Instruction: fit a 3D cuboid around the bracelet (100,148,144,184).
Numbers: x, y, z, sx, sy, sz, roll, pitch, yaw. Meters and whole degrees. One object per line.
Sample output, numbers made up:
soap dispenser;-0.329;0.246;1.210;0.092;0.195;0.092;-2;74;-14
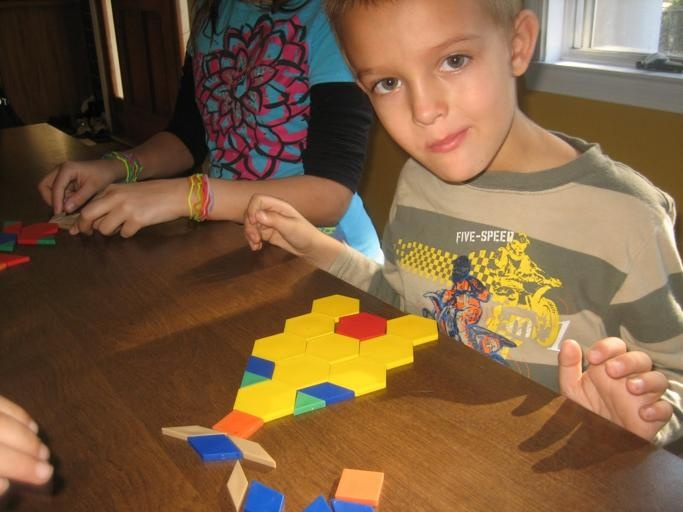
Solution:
bracelet;-0.612;-0.258;1.449;0.105;0.062;0.085;30;57;26
